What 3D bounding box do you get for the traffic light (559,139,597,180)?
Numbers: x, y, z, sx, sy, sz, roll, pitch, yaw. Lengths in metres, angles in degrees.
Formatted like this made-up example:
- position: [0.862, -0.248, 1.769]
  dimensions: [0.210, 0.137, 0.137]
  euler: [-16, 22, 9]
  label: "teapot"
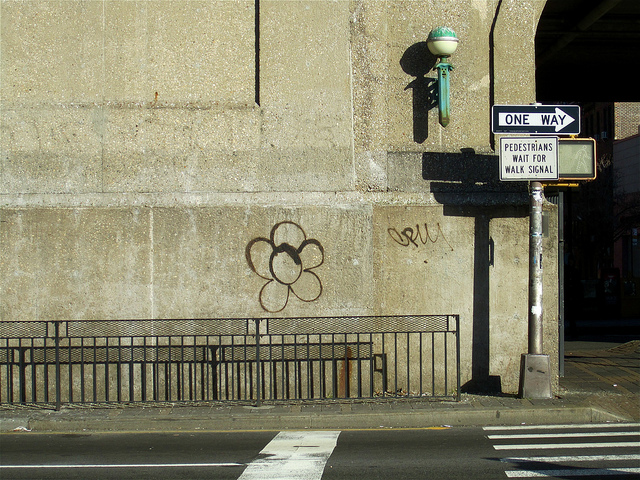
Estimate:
- position: [4.916, -1.541, 29.714]
  dimensions: [0.696, 0.773, 0.409]
  euler: [-1, -3, 6]
  label: "traffic light"
